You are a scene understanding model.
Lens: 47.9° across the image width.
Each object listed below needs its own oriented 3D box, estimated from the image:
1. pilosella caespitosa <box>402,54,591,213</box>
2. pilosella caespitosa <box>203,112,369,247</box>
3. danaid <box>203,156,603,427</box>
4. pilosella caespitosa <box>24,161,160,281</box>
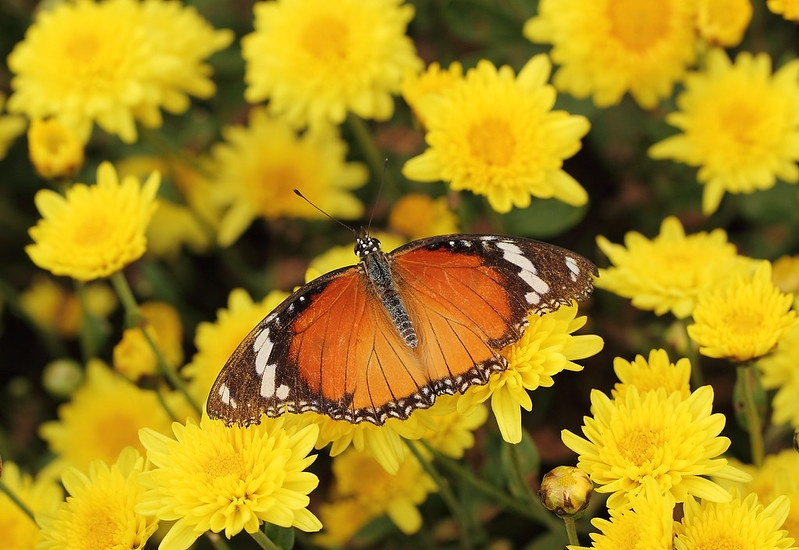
[{"bbox_3d":[0.187,-0.287,1.801,0.321,0.066,0.329,-27,85,15],"label":"pilosella caespitosa"},{"bbox_3d":[-0.314,-0.271,2.389,0.313,0.094,0.384,-3,84,-12],"label":"pilosella caespitosa"},{"bbox_3d":[-0.019,0.042,1.816,0.826,0.064,0.575,-18,47,-15],"label":"danaid"},{"bbox_3d":[-0.607,-0.112,1.782,0.253,0.087,0.243,11,84,2],"label":"pilosella caespitosa"}]
